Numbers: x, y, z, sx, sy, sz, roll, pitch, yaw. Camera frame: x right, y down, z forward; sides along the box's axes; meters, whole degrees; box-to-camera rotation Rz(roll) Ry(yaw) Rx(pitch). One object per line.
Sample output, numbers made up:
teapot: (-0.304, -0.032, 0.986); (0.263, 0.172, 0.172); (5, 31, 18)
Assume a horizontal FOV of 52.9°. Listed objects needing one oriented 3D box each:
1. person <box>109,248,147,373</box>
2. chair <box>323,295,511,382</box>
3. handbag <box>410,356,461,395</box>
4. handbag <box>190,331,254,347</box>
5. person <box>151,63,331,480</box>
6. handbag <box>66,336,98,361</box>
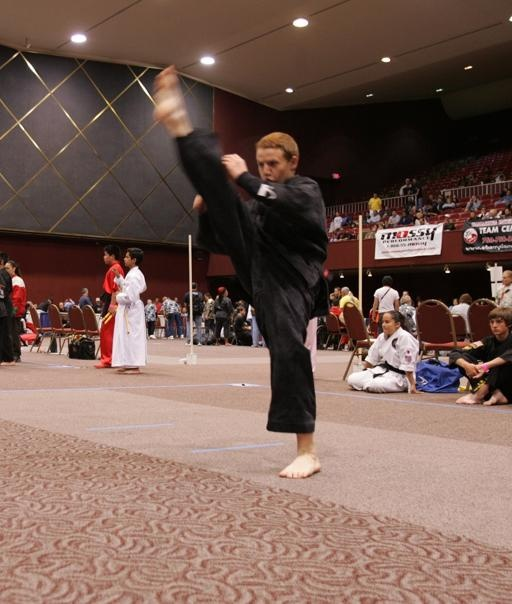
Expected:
person: (-1.871, 0.101, 7.564); (0.486, 1.838, 0.564); (1, -2, -14)
chair: (2.034, 0.463, 6.580); (0.557, 0.789, 1.528); (-5, 3, -45)
handbag: (2.037, 0.848, 5.789); (0.547, 0.220, 0.667); (1, -3, 18)
handbag: (-0.900, 1.127, 15.501); (1.903, 0.338, 0.528); (1, -1, 13)
person: (-0.030, -0.104, 2.133); (0.783, 1.607, 0.378); (1, -2, -11)
handbag: (-3.421, 0.898, 9.927); (0.813, 0.494, 0.406); (-3, -8, 35)
